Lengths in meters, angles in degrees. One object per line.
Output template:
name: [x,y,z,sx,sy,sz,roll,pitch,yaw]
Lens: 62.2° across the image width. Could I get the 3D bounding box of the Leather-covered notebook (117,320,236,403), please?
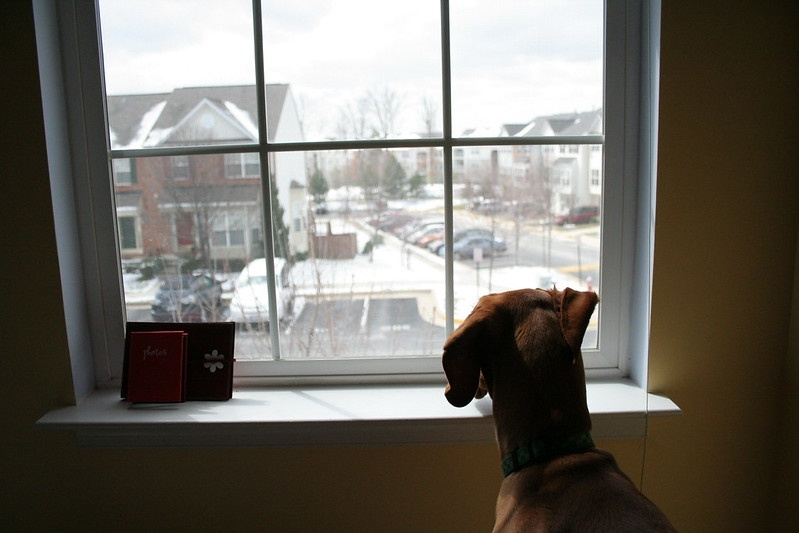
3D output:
Leather-covered notebook: [-0.737,0.328,2.248,0.351,0.272,0.045,3,-23,-23]
